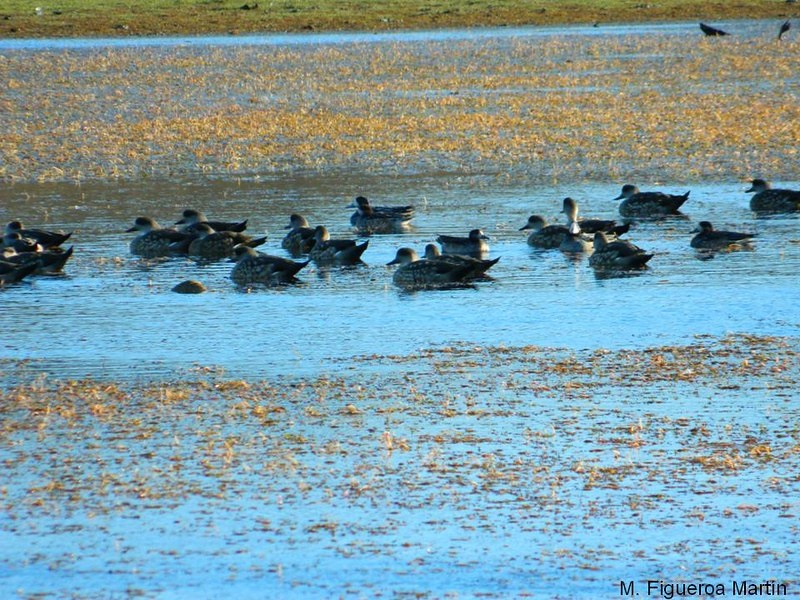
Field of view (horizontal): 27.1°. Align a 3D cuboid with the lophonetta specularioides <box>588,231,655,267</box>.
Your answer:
[{"bbox_3d":[3.389,-0.715,25.509,1.088,0.467,0.519,16,36,26],"label":"lophonetta specularioides"}]

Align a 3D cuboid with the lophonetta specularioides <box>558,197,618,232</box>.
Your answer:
[{"bbox_3d":[2.979,-1.394,27.756,1.263,0.567,0.466,7,-1,22],"label":"lophonetta specularioides"}]

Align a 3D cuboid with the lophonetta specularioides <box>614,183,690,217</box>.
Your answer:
[{"bbox_3d":[4.383,-1.768,29.319,1.447,0.527,0.523,4,-1,10],"label":"lophonetta specularioides"}]

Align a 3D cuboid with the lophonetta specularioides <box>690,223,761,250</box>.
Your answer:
[{"bbox_3d":[5.136,-1.038,26.506,0.999,0.417,0.464,0,-2,27],"label":"lophonetta specularioides"}]

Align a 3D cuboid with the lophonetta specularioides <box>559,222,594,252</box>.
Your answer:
[{"bbox_3d":[2.833,-0.983,26.790,0.378,0.331,0.583,-1,3,12],"label":"lophonetta specularioides"}]
